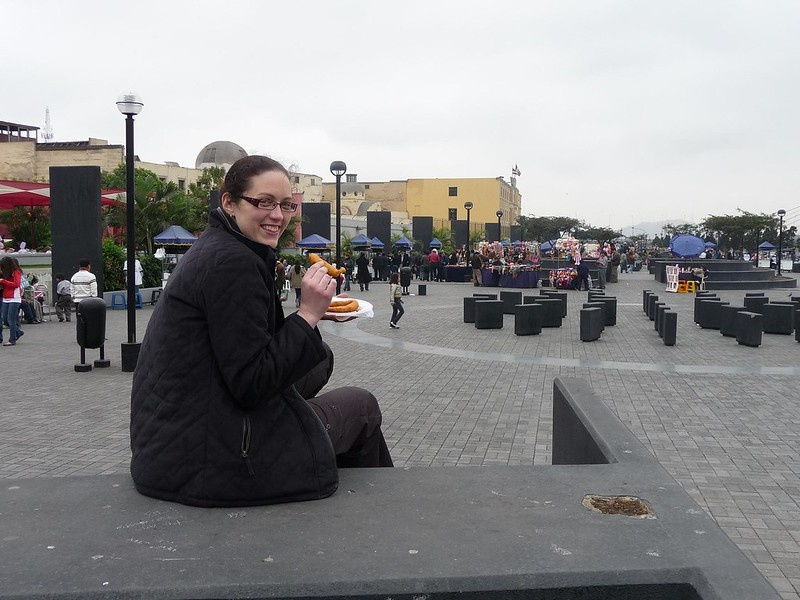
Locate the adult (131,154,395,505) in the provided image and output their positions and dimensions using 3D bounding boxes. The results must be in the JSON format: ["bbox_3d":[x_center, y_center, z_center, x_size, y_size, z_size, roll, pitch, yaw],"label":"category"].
[{"bbox_3d":[-0.676,0.334,3.218,1.291,1.953,0.878,-5,0,-25],"label":"adult"}]

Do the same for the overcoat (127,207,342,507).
[{"bbox_3d":[-0.784,0.228,3.209,0.950,1.332,0.941,2,-1,-27],"label":"overcoat"}]
